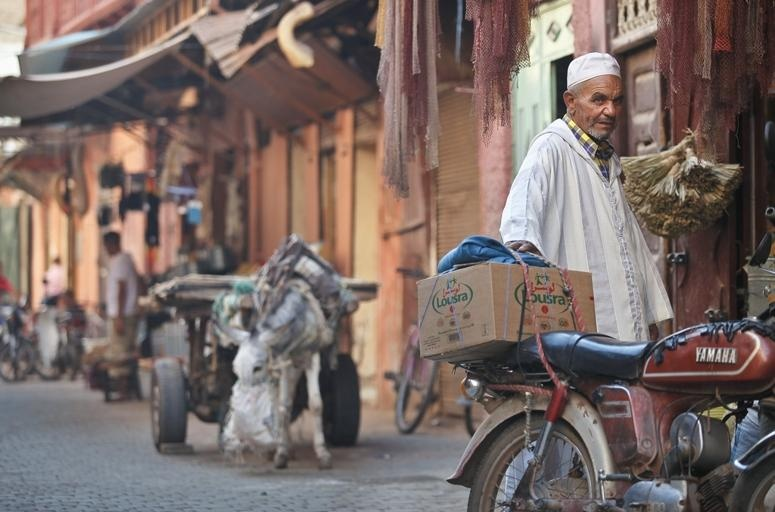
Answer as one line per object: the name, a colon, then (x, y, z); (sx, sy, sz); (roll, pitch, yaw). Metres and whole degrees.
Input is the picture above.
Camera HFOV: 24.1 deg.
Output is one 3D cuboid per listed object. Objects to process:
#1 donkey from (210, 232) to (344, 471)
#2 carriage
donkey: (-0.728, 0.695, 13.060); (0.844, 1.548, 2.096); (4, 12, 19)
carriage: (-0.947, 0.671, 13.026); (1.697, 1.372, 1.837); (3, 8, 22)
